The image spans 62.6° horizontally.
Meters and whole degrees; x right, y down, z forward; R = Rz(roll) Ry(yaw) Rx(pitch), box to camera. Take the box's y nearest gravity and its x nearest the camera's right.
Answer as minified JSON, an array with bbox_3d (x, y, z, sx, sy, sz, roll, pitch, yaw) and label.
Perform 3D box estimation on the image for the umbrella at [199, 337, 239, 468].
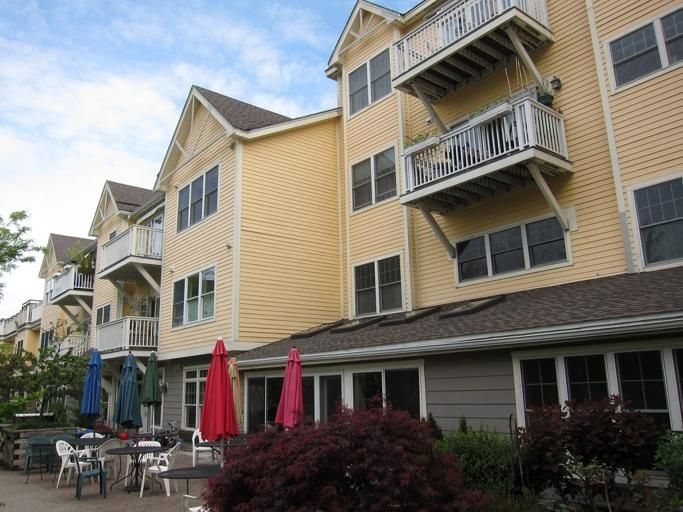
[{"bbox_3d":[-2.838,3.108,13.233,0.794,2.288,0.531,4,-18,-18],"label":"umbrella"}]

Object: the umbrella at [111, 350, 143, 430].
[{"bbox_3d":[-6.539,4.142,17.414,0.769,2.210,0.952,5,-19,-21],"label":"umbrella"}]
